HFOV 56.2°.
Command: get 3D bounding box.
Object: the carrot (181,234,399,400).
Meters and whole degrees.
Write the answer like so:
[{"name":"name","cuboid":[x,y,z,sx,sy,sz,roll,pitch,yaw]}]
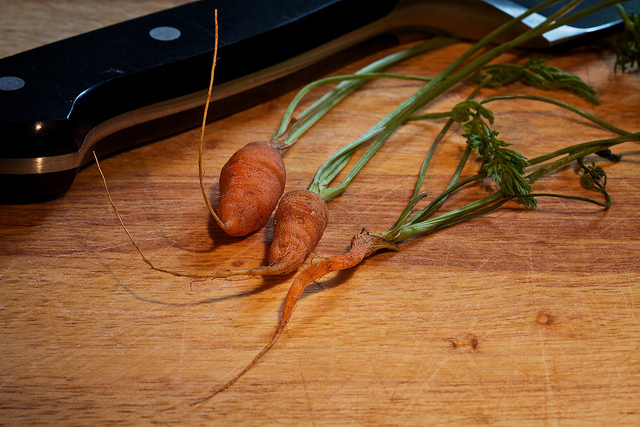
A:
[{"name":"carrot","cuboid":[-0.029,0.157,1.049,0.124,0.062,0.491,33,47,20]}]
